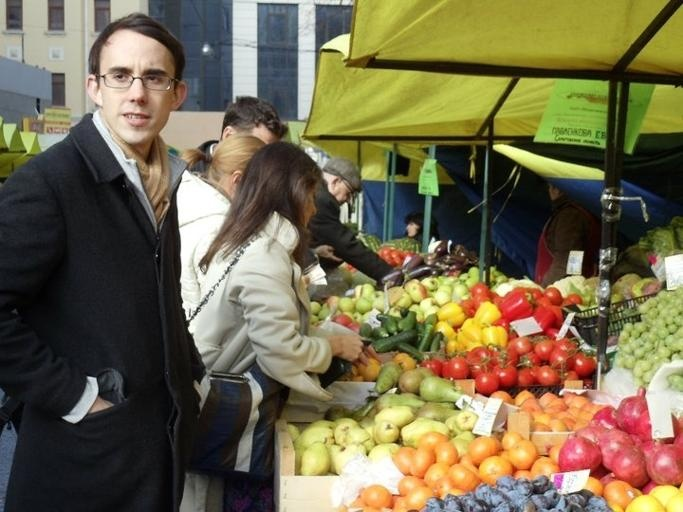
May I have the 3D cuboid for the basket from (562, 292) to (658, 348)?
[{"bbox_3d":[1.703,0.394,3.329,0.424,0.145,0.276,-25,6,9],"label":"basket"}]

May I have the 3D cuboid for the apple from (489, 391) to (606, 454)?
[{"bbox_3d":[1.101,0.847,2.788,0.329,0.138,0.322,-2,-2,2],"label":"apple"}]

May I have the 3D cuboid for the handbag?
[{"bbox_3d":[-0.511,0.808,2.530,0.445,0.555,0.315,23,19,-23],"label":"handbag"}]

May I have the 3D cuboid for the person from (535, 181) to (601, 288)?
[{"bbox_3d":[2.502,-0.204,5.823,0.625,1.169,0.891,5,6,24],"label":"person"}]
